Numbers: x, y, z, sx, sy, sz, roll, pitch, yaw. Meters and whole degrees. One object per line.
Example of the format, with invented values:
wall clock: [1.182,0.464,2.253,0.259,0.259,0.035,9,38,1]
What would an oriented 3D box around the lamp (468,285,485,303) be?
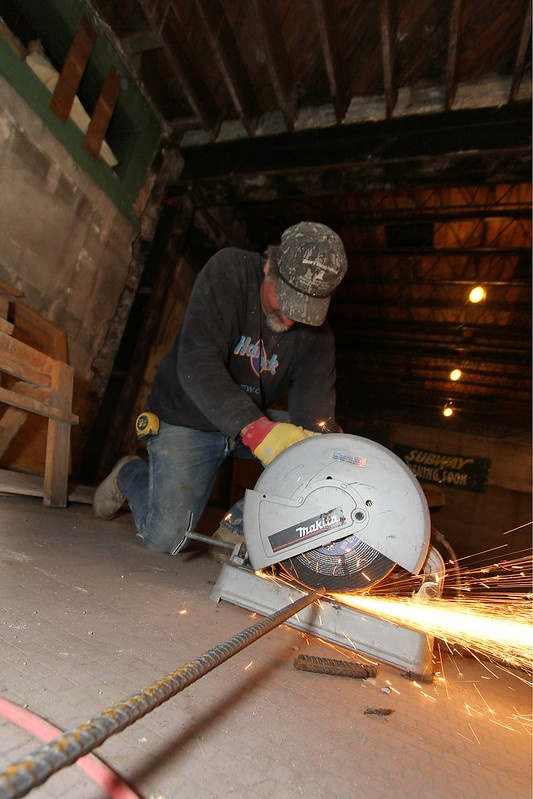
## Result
lamp: [3.250,-1.651,8.249,0.070,0.290,0.286,12,5,38]

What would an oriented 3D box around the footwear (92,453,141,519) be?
footwear: [-0.856,0.448,2.931,0.101,0.152,0.275,59,0,28]

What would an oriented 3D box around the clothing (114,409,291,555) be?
clothing: [-0.403,0.415,2.604,0.264,0.752,0.619,-4,-16,42]

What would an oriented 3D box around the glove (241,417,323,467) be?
glove: [0.031,0.118,1.791,0.159,0.198,0.070,46,-3,30]

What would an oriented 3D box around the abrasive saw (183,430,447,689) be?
abrasive saw: [0.211,0.415,1.628,0.711,0.598,0.336,6,-1,24]
